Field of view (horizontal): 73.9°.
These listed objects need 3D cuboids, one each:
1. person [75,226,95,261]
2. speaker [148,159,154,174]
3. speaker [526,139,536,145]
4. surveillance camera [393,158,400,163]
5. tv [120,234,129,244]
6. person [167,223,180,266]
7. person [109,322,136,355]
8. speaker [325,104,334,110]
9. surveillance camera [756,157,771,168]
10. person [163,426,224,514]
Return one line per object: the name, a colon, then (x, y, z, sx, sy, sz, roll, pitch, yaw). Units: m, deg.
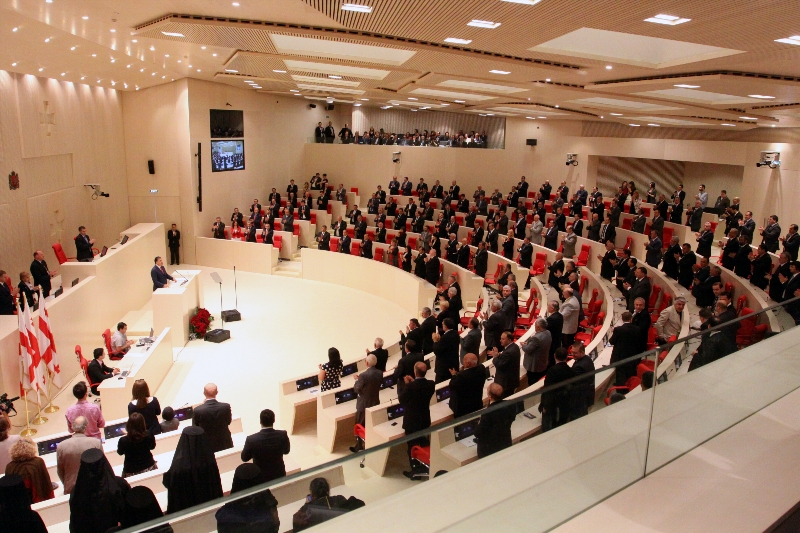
person: (-9.163, -0.696, 15.431, 0.414, 0.910, 1.058, -7, 18, -31)
speaker: (-10.255, -4.104, 22.008, 0.284, 0.603, 0.155, -6, 17, -26)
speaker: (7.317, -6.890, 29.536, 0.320, 0.292, 0.086, 1, 7, 5)
surveillance camera: (-0.170, -5.598, 28.247, 0.429, 0.313, 0.152, 5, 17, 11)
tv: (-8.848, -0.861, 17.024, 0.422, 0.160, 0.323, -18, -15, 31)
person: (-9.410, -0.952, 22.162, 0.541, 1.766, 0.757, -3, 16, -20)
person: (-7.296, 1.907, 13.970, 0.454, 0.812, 0.460, -13, 36, -36)
speaker: (-4.049, -9.282, 31.064, 0.302, 0.432, 0.597, 29, 28, 36)
surveillance camera: (14.045, -4.000, 20.593, 0.311, 0.390, 0.715, 3, 16, 5)
person: (-2.673, 2.538, 6.677, 0.356, 1.125, 0.540, 17, 21, 40)
